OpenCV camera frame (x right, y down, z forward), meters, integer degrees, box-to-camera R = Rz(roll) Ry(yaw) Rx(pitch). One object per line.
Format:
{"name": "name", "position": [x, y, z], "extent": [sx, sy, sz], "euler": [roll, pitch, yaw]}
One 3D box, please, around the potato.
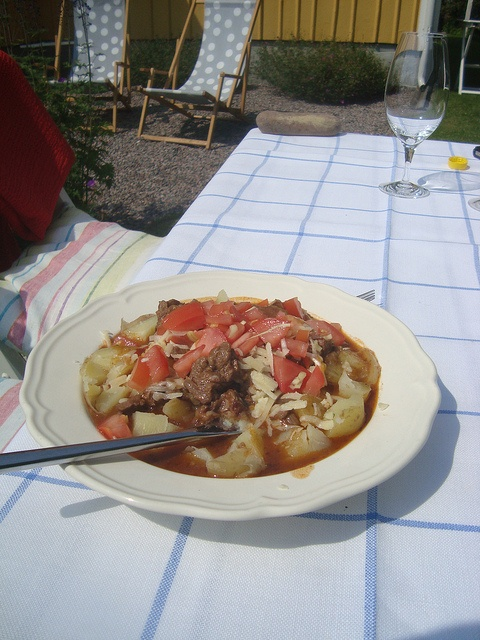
{"name": "potato", "position": [-0.024, 0.077, 0.934], "extent": [0.551, 0.225, 0.390], "euler": [-5, 19, -9]}
